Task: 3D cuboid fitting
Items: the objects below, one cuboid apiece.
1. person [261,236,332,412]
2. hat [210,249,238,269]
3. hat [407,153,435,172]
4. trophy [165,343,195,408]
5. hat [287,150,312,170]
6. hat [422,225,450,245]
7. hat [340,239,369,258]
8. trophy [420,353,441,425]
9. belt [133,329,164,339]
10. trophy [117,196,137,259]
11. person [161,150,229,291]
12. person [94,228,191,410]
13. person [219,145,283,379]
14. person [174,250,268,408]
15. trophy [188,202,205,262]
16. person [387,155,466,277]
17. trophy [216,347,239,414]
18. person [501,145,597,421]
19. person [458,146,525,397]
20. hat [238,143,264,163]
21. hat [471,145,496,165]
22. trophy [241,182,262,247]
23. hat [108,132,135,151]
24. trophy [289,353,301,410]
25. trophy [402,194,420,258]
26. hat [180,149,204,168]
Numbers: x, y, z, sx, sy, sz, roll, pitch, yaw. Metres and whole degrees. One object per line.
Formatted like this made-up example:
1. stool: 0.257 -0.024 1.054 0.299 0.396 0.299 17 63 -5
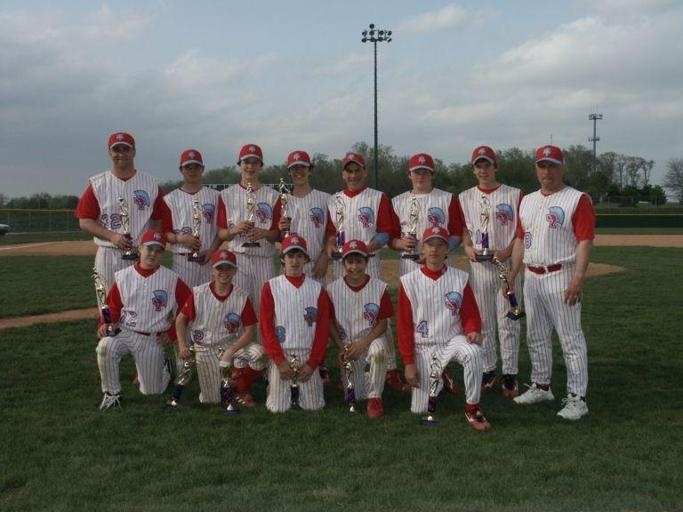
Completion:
1. person: -0.525 0.789 7.891 0.777 1.980 0.879 0 1 -3
2. hat: -1.406 0.037 7.792 0.282 0.191 0.248 -4 12 -20
3. hat: 1.021 -1.206 8.427 0.304 0.230 0.260 1 11 8
4. trophy: -1.992 1.357 8.098 0.322 0.709 1.265 -3 12 -13
5. hat: -0.541 -1.234 8.420 0.313 0.218 0.202 -1 11 -6
6. hat: 1.117 -0.248 7.745 0.277 0.209 0.462 2 7 10
7. hat: 0.148 -0.089 7.871 0.286 0.220 0.470 0 -4 -2
8. trophy: 1.015 1.471 7.347 0.183 0.685 0.544 2 11 11
9. belt: -2.326 0.943 7.923 0.328 0.104 0.061 -2 11 -11
10. trophy: -2.740 -0.352 8.315 0.229 0.737 0.206 -12 6 -41
11. person: -1.952 -0.111 8.786 0.755 2.557 0.735 -2 19 -7
12. person: -2.425 0.726 7.936 0.875 2.115 1.095 0 1 9
13. person: -1.207 0.013 8.668 0.897 2.903 0.859 0 11 -5
14. person: -1.431 0.931 7.896 0.905 2.052 1.002 3 9 -8
15. trophy: -1.853 -0.351 8.486 0.231 0.759 0.218 1 3 -10
16. person: 1.063 -0.351 8.446 0.996 1.991 0.880 -2 1 17
17. trophy: -1.343 1.457 7.681 0.183 0.610 0.663 -3 11 -13
18. person: 2.413 0.263 7.657 0.770 3.126 0.961 -1 1 -40
19. person: 1.914 0.205 8.304 0.868 3.138 0.933 -2 8 21
20. hat: -1.175 -1.296 8.308 0.302 0.228 0.282 -1 11 -5
21. hat: 1.793 -1.259 8.194 0.301 0.236 0.320 1 11 5
22. trophy: -1.164 -0.557 8.428 0.134 0.785 0.468 -2 11 -8
23. hat: -2.762 -1.445 8.223 0.289 0.201 0.221 -6 12 -25
24. trophy: -0.543 1.453 7.608 0.116 0.632 0.186 -1 11 -4
25. trophy: 0.884 -0.367 8.363 0.241 0.812 0.243 1 0 11
26. hat: -1.956 -1.260 8.484 0.257 0.220 0.194 -2 11 -9
